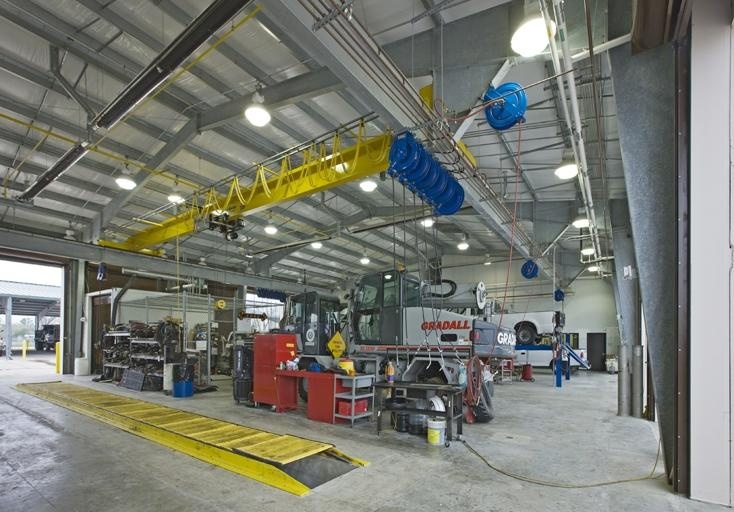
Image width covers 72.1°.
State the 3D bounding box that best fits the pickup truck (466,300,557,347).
[{"bbox_3d":[5.328,2.746,20.410,4.376,1.843,2.350,-3,-10,30],"label":"pickup truck"}]

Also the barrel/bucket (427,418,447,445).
[{"bbox_3d":[1.229,3.120,8.802,0.365,0.312,0.363,1,-12,0],"label":"barrel/bucket"}]

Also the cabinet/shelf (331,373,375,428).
[{"bbox_3d":[-0.213,2.885,10.200,0.567,1.025,0.938,3,5,39],"label":"cabinet/shelf"}]

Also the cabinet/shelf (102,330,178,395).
[{"bbox_3d":[-6.772,3.113,14.922,4.535,1.925,0.959,3,5,44],"label":"cabinet/shelf"}]

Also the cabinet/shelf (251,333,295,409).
[{"bbox_3d":[-2.190,2.619,11.551,0.825,1.453,0.564,-6,-11,35],"label":"cabinet/shelf"}]

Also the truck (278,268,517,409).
[{"bbox_3d":[0.368,1.963,12.461,6.338,3.313,2.481,-2,-10,30],"label":"truck"}]

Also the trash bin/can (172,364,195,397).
[{"bbox_3d":[-4.818,3.315,13.244,0.490,0.719,0.968,-2,4,-20],"label":"trash bin/can"}]

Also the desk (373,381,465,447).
[{"bbox_3d":[0.965,2.873,9.202,1.609,0.978,0.634,-3,-9,30],"label":"desk"}]

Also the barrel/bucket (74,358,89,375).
[{"bbox_3d":[-10.183,4.025,18.224,0.550,0.610,0.553,0,-5,0],"label":"barrel/bucket"}]

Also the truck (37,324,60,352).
[{"bbox_3d":[-20.226,5.356,32.053,2.620,1.750,1.144,3,5,43],"label":"truck"}]

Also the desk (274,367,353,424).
[{"bbox_3d":[-1.221,2.953,10.750,0.527,0.892,1.738,8,-12,-43],"label":"desk"}]

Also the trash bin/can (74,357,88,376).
[{"bbox_3d":[-10.155,4.010,18.176,0.572,0.632,0.573,3,-5,-34],"label":"trash bin/can"}]
